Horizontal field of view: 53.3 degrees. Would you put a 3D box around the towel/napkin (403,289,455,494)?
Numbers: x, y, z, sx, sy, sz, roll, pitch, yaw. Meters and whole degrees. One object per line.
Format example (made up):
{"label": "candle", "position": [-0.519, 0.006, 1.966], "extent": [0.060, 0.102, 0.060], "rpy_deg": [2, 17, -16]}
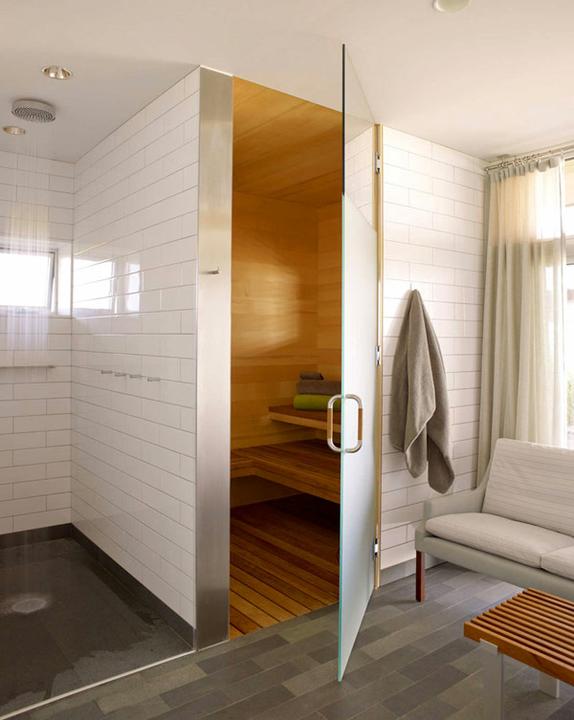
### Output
{"label": "towel/napkin", "position": [0.755, 0.213, 3.171], "extent": [0.231, 1.186, 0.289], "rpy_deg": [-6, 14, 29]}

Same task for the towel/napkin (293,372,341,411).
{"label": "towel/napkin", "position": [0.216, 0.192, 4.251], "extent": [0.279, 0.096, 0.272], "rpy_deg": [3, 15, 8]}
